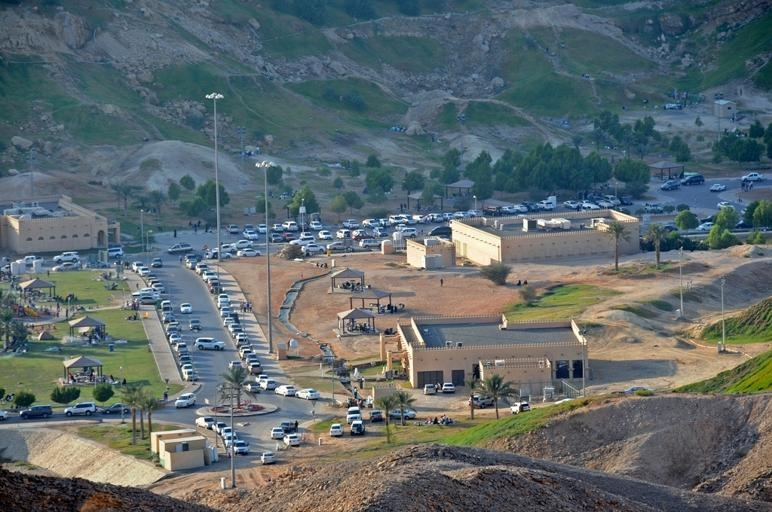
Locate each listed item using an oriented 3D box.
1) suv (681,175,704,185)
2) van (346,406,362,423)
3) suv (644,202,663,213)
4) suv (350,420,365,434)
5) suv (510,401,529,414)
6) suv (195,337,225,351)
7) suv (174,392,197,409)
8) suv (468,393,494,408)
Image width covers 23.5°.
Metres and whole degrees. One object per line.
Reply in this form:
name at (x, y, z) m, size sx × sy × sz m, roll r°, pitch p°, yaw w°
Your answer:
suv at (60.202, -15.383, 367.880) m, size 4.061 × 1.485 × 2.023 m, roll 0°, pitch 7°, yaw 0°
van at (-4.591, 23.872, 273.310) m, size 2.271 × 1.815 × 3.314 m, roll -3°, pitch 9°, yaw 10°
suv at (49.727, -9.323, 349.739) m, size 2.056 × 1.371 × 2.729 m, roll -6°, pitch 9°, yaw -35°
suv at (-3.863, 25.465, 270.950) m, size 1.858 × 1.991 × 1.714 m, roll -3°, pitch 10°, yaw 10°
suv at (19.688, 22.608, 272.803) m, size 2.682 × 1.178 × 5.280 m, roll -4°, pitch 9°, yaw 4°
suv at (-27.088, 13.962, 291.214) m, size 3.822 × 1.411 × 2.060 m, roll -1°, pitch 9°, yaw -3°
suv at (-29.069, 21.914, 277.069) m, size 1.723 × 1.423 × 3.230 m, roll -3°, pitch -3°, yaw 19°
suv at (14.276, 21.974, 276.281) m, size 3.623 × 1.241 × 1.609 m, roll -9°, pitch 12°, yaw -42°
